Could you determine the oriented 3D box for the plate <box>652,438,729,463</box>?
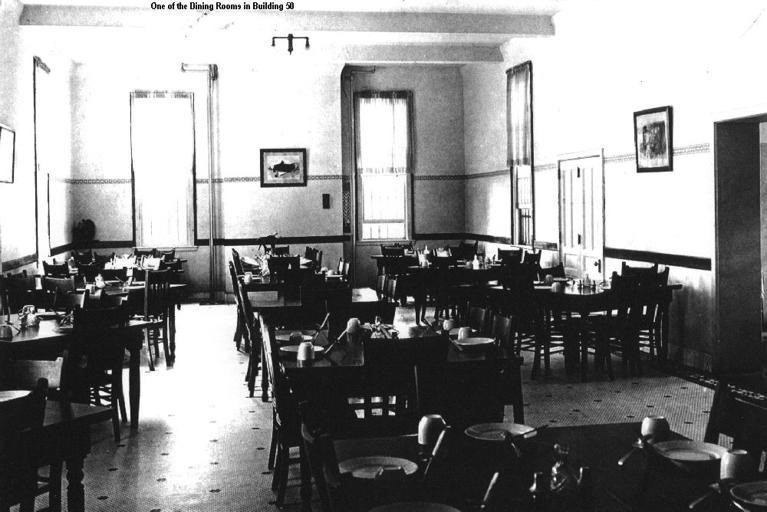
[{"bbox_3d":[1.622,1.034,3.655,0.351,0.063,0.241,1,3,24],"label":"plate"}]

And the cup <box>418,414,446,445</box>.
[{"bbox_3d":[0.267,0.957,3.794,0.128,0.158,0.158,1,-6,5],"label":"cup"}]

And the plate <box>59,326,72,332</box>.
[{"bbox_3d":[-2.794,0.633,6.036,0.091,0.038,0.221,-2,3,-30],"label":"plate"}]

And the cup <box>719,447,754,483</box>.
[{"bbox_3d":[1.748,1.027,3.452,0.149,0.156,0.153,0,-2,0],"label":"cup"}]

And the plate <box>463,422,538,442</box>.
[{"bbox_3d":[0.673,0.999,3.850,0.425,0.071,0.242,-1,3,2],"label":"plate"}]

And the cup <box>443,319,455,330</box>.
[{"bbox_3d":[0.548,0.575,5.767,0.076,0.079,0.078,0,12,0],"label":"cup"}]

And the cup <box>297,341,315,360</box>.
[{"bbox_3d":[-0.567,0.696,5.058,0.109,0.107,0.114,0,-2,0],"label":"cup"}]

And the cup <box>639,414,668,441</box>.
[{"bbox_3d":[1.498,0.945,3.821,0.119,0.119,0.164,8,11,33],"label":"cup"}]

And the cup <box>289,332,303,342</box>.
[{"bbox_3d":[-0.714,0.655,5.594,0.107,0.051,0.274,-1,3,-10],"label":"cup"}]

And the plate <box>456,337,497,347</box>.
[{"bbox_3d":[0.695,0.662,5.241,0.310,0.038,0.219,-1,3,-1],"label":"plate"}]

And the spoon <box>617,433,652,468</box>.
[{"bbox_3d":[1.350,1.030,3.676,0.086,0.064,0.422,-8,8,35],"label":"spoon"}]
